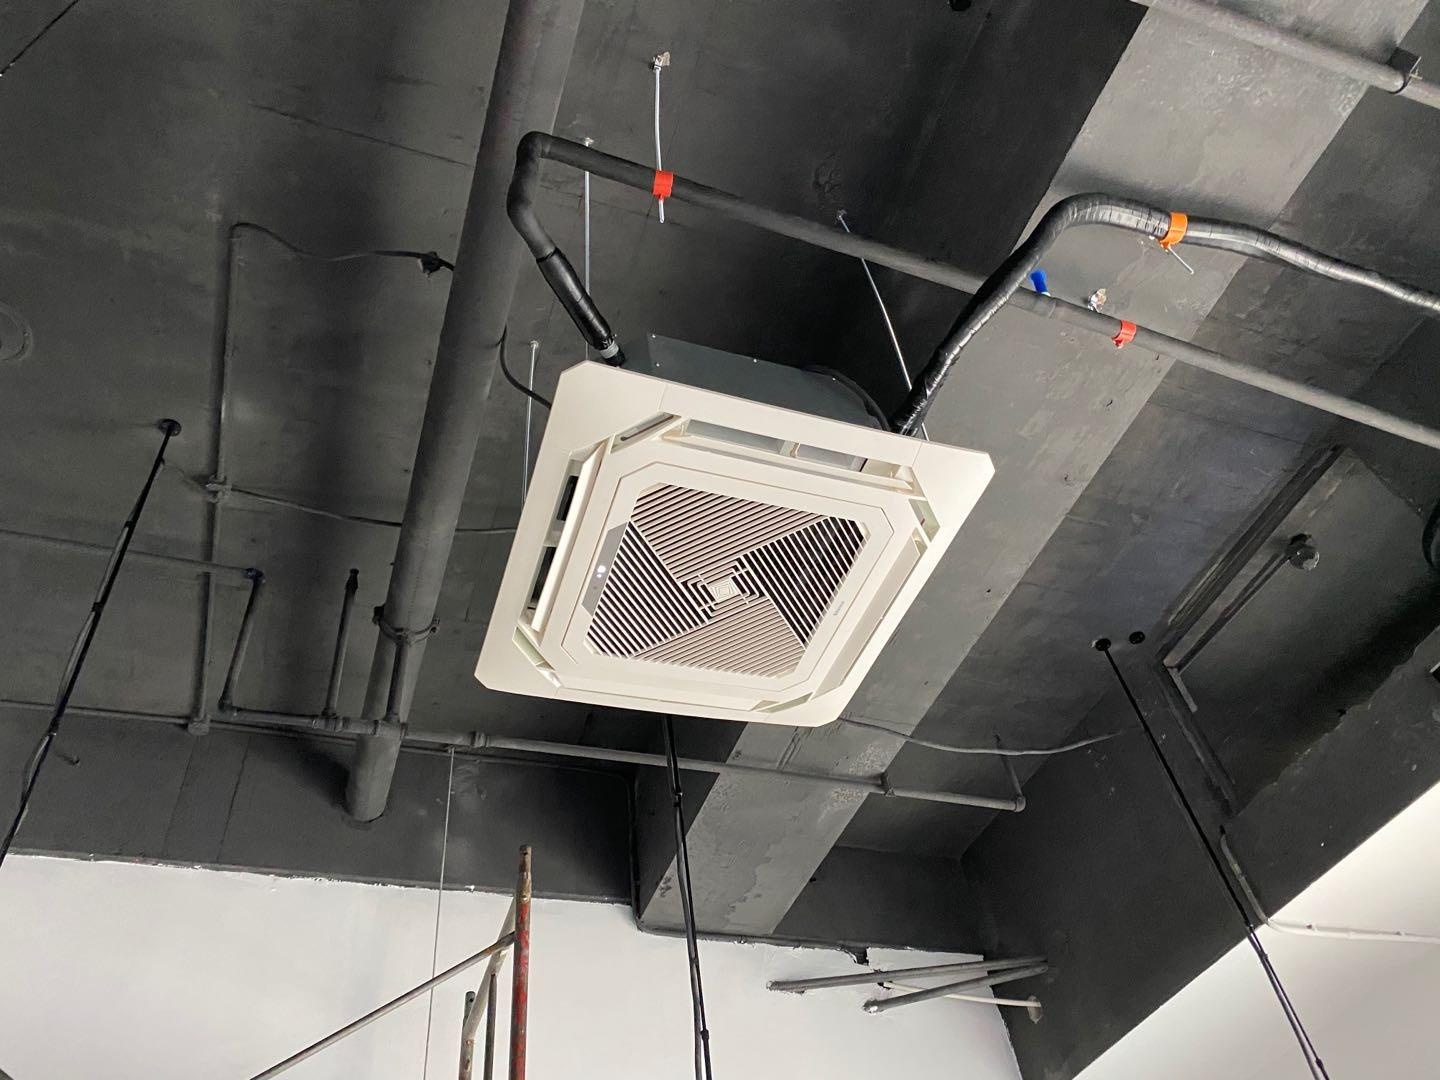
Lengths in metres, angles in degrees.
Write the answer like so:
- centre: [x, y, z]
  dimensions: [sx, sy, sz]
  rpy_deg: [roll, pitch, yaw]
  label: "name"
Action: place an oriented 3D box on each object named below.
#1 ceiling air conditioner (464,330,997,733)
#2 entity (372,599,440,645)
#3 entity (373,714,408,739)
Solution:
- centre: [0.000, 0.076, 2.929]
  dimensions: [1.067, 0.318, 1.023]
  rpy_deg: [7, -50, -23]
  label: "ceiling air conditioner"
- centre: [-1.045, 0.271, 3.813]
  dimensions: [0.192, 0.146, 0.098]
  rpy_deg: [1, -45, -16]
  label: "entity"
- centre: [-1.121, 0.642, 3.917]
  dimensions: [0.068, 0.041, 0.092]
  rpy_deg: [6, -29, -16]
  label: "entity"
